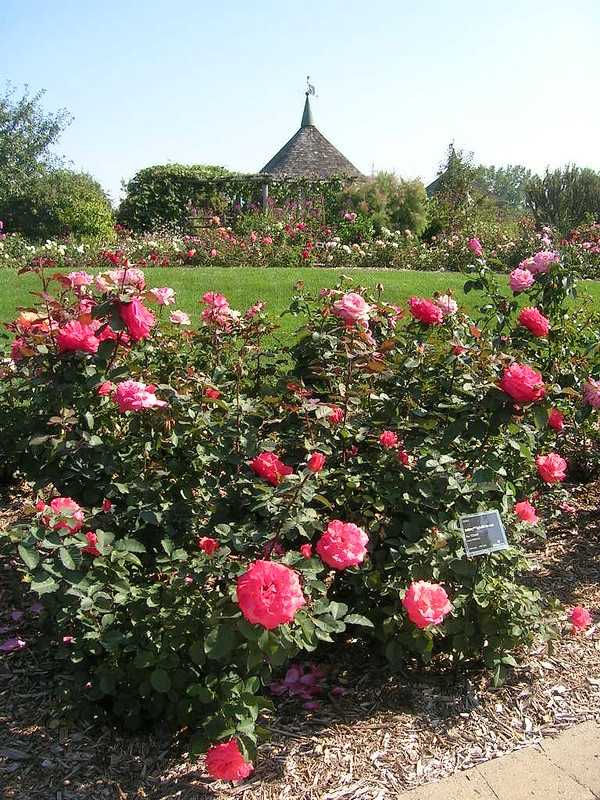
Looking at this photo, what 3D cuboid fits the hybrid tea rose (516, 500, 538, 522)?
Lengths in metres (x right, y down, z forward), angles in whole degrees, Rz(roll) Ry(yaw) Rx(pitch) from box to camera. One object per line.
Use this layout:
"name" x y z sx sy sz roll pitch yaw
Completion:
"hybrid tea rose" 0.759 0.382 2.143 0.065 0.091 0.185 -3 2 19

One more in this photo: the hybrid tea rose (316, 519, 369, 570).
"hybrid tea rose" 0.109 0.363 1.583 0.133 0.120 0.068 14 -10 18

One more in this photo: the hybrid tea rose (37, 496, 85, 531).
"hybrid tea rose" -0.594 0.298 1.598 0.092 0.073 0.108 -5 2 -22

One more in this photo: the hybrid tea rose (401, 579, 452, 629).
"hybrid tea rose" 0.329 0.540 1.668 0.093 0.113 0.082 -6 3 -43

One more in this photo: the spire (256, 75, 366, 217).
"spire" 0.400 -11.757 28.313 5.348 5.221 5.048 -5 16 -11

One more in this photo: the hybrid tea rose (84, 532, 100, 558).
"hybrid tea rose" -0.528 0.374 1.616 0.041 0.051 0.083 -5 2 -20
